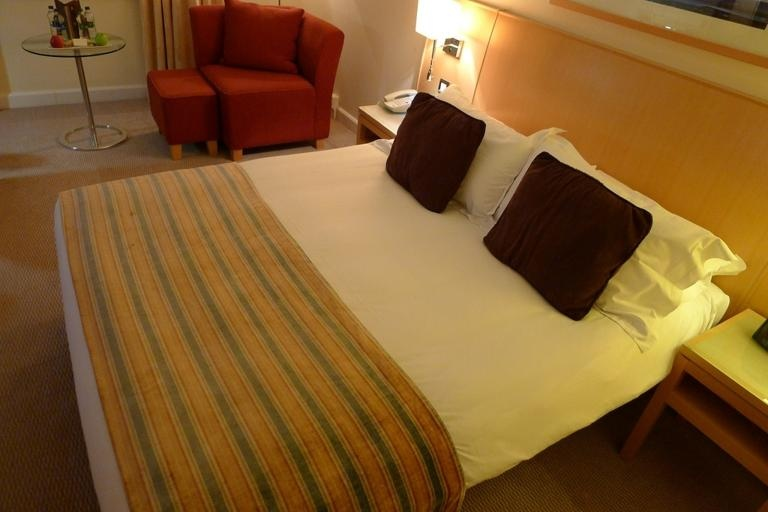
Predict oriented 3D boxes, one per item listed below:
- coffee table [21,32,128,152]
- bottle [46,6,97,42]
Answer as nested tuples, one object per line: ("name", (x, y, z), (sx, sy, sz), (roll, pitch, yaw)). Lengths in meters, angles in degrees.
("coffee table", (-2.731, -1.408, 4.606), (0.701, 0.781, 0.708), (-23, 51, -38))
("bottle", (-2.475, -1.851, 4.187), (0.301, 0.271, 0.167), (-6, 38, -22))
